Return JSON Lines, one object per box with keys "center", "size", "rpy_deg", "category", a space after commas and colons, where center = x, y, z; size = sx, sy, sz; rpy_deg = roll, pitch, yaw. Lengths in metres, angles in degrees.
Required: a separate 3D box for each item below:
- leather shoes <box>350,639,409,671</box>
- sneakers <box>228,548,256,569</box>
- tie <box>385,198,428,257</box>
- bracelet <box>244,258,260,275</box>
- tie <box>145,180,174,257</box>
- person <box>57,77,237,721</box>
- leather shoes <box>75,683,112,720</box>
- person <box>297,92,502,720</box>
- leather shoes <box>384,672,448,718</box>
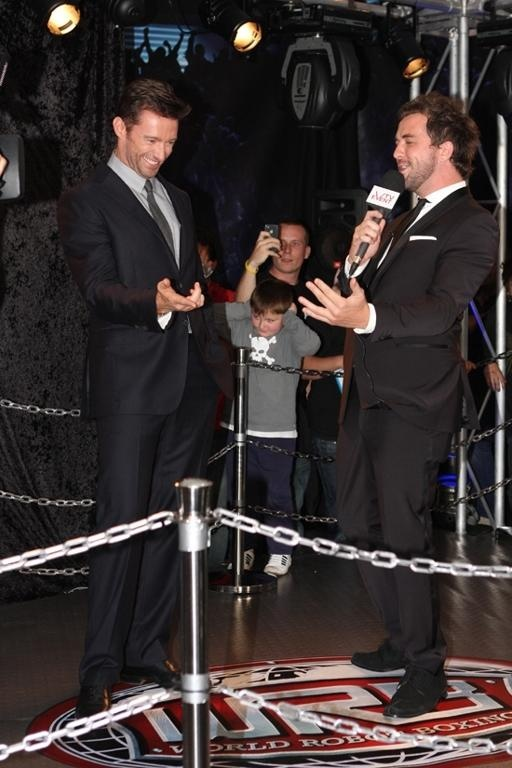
{"center": [0.450, 0.999, 2.455], "size": [0.217, 0.075, 0.078], "rpy_deg": [1, 0, 5], "category": "leather shoes"}
{"center": [-0.083, 1.031, 3.914], "size": [0.097, 0.106, 0.271], "rpy_deg": [-1, -11, 9], "category": "sneakers"}
{"center": [0.521, -0.557, 2.302], "size": [0.060, 0.042, 0.389], "rpy_deg": [19, 46, 21], "category": "tie"}
{"center": [-0.041, -0.755, 4.310], "size": [0.096, 0.089, 0.096], "rpy_deg": [-14, 2, 13], "category": "bracelet"}
{"center": [-0.316, -0.540, 2.176], "size": [0.054, 0.035, 0.351], "rpy_deg": [-18, 40, -11], "category": "tie"}
{"center": [-0.364, 0.038, 2.120], "size": [0.455, 1.955, 0.639], "rpy_deg": [-2, -5, 13], "category": "person"}
{"center": [-0.489, 0.951, 1.996], "size": [0.097, 0.089, 0.157], "rpy_deg": [0, -4, -11], "category": "leather shoes"}
{"center": [0.485, 0.010, 2.286], "size": [0.610, 1.794, 0.563], "rpy_deg": [-2, 21, 7], "category": "person"}
{"center": [0.499, 0.961, 2.114], "size": [0.094, 0.106, 0.247], "rpy_deg": [-7, -7, 41], "category": "leather shoes"}
